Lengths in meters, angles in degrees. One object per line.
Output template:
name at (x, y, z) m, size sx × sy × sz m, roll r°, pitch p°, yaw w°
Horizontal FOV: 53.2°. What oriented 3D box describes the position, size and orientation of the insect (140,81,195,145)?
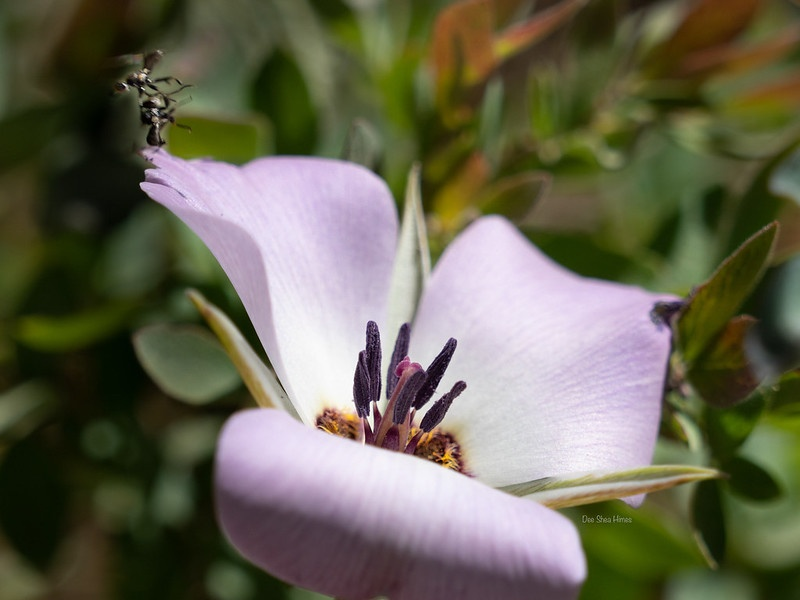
insect at (-0.162, -0.129, 0.549) m, size 0.031 × 0.024 × 0.067 m, roll -10°, pitch 63°, yaw -2°
